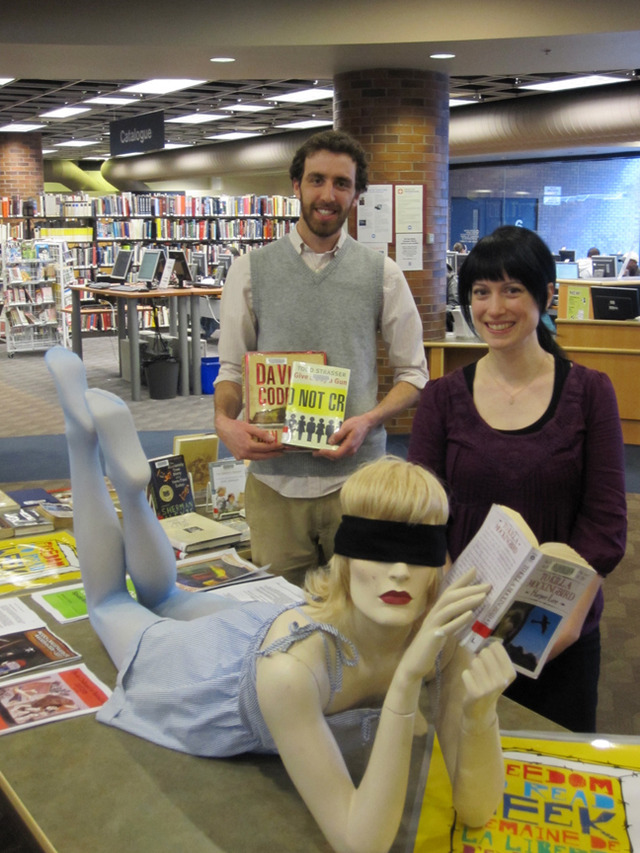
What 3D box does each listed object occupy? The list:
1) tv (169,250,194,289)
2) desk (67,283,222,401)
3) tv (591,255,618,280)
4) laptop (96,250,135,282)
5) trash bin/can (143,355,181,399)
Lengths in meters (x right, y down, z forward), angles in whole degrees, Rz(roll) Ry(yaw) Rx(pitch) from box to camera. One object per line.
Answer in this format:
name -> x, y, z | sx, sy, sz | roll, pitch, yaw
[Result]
tv -> -1.991, -2.245, 9.350 | 0.287, 0.592, 0.758 | 1, 4, -13
desk -> -2.723, -1.304, 9.352 | 1.225, 1.167, 2.440 | 0, 15, -35
tv -> 4.395, -2.452, 10.181 | 0.425, 0.369, 0.098 | 3, -2, 15
laptop -> -3.190, -2.461, 10.156 | 0.421, 0.574, 0.858 | 0, 4, -25
trash bin/can -> -2.025, -0.640, 8.365 | 0.518, 0.522, 0.542 | 0, 4, 14
